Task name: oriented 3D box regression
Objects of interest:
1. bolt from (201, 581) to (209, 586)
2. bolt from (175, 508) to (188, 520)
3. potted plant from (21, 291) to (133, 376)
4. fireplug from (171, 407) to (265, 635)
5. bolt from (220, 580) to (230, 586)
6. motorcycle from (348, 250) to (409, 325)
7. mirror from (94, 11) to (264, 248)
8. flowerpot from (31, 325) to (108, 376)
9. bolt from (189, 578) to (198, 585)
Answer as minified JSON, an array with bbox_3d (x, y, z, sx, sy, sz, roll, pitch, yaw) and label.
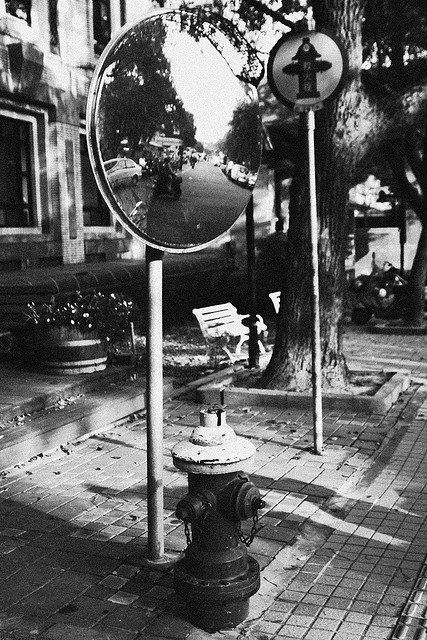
[{"bbox_3d":[-0.038,1.209,4.308,0.036,0.008,0.033,1,8,7],"label":"bolt"},{"bbox_3d":[-0.146,0.881,4.260,0.049,0.055,0.040,11,17,26],"label":"bolt"},{"bbox_3d":[-1.454,0.132,9.209,0.813,0.699,0.760,-2,-1,36],"label":"potted plant"},{"bbox_3d":[0.022,0.937,4.438,0.431,0.975,0.396,0,7,-3],"label":"fireplug"},{"bbox_3d":[0.055,1.210,4.317,0.040,0.011,0.044,6,10,38],"label":"bolt"},{"bbox_3d":[3.071,-0.511,17.394,0.978,0.969,3.306,1,8,8],"label":"motorcycle"},{"bbox_3d":[-0.155,-0.970,4.765,0.228,1.193,1.137,5,9,37],"label":"mirror"},{"bbox_3d":[-1.399,0.254,9.089,0.550,0.546,0.482,7,11,26],"label":"flowerpot"},{"bbox_3d":[-0.092,1.206,4.329,0.039,0.009,0.058,0,8,-3],"label":"bolt"}]
